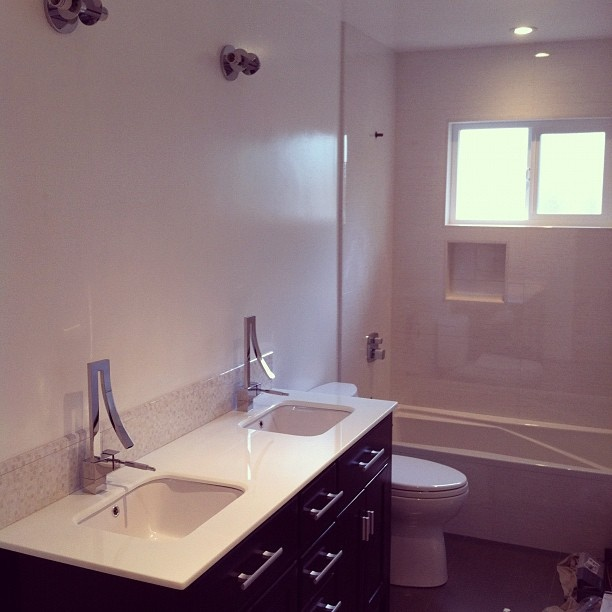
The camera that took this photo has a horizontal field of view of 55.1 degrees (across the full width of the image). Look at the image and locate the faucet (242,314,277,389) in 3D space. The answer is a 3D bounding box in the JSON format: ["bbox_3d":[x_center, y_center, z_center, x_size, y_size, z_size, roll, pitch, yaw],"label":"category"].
[{"bbox_3d":[-0.169,0.183,2.189,0.109,0.269,0.067,3,10,7],"label":"faucet"}]

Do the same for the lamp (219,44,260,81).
[{"bbox_3d":[-0.238,-0.855,2.081,0.163,0.109,0.046,-5,8,-41],"label":"lamp"}]

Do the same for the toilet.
[{"bbox_3d":[0.444,0.907,3.254,0.947,1.240,0.575,0,4,31],"label":"toilet"}]
